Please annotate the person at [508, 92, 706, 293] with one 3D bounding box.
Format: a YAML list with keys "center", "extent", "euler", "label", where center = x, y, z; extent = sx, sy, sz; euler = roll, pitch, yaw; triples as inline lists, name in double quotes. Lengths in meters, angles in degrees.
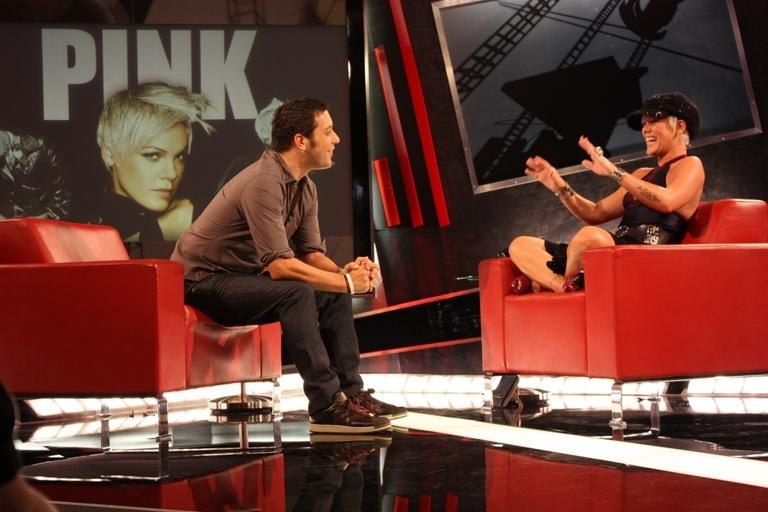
- center: [1.250, -0.342, 3.929]
  extent: [1.062, 1.149, 0.762]
  euler: [2, -5, 11]
  label: "person"

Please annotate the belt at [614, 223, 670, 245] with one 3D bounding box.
- center: [1.385, -0.098, 3.786]
  extent: [0.242, 0.093, 0.136]
  euler: [-3, -6, 24]
  label: "belt"

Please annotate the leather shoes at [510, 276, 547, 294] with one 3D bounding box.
- center: [0.805, 0.171, 3.915]
  extent: [0.126, 0.041, 0.121]
  euler: [3, 6, -16]
  label: "leather shoes"

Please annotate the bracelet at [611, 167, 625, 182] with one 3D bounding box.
- center: [1.267, -0.437, 3.794]
  extent: [0.070, 0.066, 0.023]
  euler: [15, -2, 40]
  label: "bracelet"

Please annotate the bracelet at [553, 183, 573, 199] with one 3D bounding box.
- center: [1.089, -0.389, 4.253]
  extent: [0.093, 0.060, 0.088]
  euler: [0, 1, -1]
  label: "bracelet"

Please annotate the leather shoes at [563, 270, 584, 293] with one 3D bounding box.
- center: [0.999, 0.141, 3.679]
  extent: [0.041, 0.064, 0.112]
  euler: [15, -36, -35]
  label: "leather shoes"

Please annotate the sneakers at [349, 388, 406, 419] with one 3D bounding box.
- center: [-0.026, 0.735, 3.517]
  extent: [0.325, 0.118, 0.121]
  euler: [6, -2, -13]
  label: "sneakers"

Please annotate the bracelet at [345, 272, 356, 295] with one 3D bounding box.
- center: [-0.167, 0.139, 3.479]
  extent: [0.053, 0.114, 0.146]
  euler: [-2, 2, -4]
  label: "bracelet"
